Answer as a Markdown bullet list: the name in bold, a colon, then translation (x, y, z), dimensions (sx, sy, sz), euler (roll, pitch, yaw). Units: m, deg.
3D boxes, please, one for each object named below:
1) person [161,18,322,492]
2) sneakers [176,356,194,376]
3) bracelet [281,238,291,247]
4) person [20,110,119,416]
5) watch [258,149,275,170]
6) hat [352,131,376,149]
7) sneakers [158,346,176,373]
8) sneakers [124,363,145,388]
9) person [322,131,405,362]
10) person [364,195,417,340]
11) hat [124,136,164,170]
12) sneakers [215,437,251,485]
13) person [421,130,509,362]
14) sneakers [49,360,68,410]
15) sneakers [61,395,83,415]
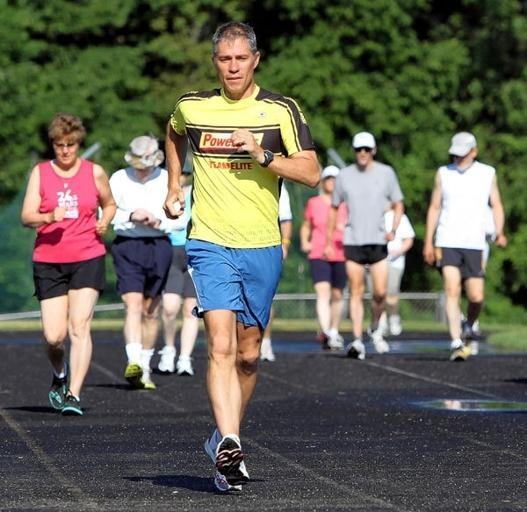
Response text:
- **person**: translation (-0.214, -0.182, 5.892), dimensions (0.749, 1.833, 0.746), euler (8, 12, 36)
- **sneakers**: translation (-0.692, 0.965, 10.881), dimensions (0.167, 0.211, 0.499), euler (0, -3, -7)
- **bracelet**: translation (0.216, -0.132, 11.531), dimensions (0.060, 0.061, 0.045), euler (6, -4, 7)
- **person**: translation (-1.293, 0.049, 8.321), dimensions (0.460, 1.958, 0.682), euler (4, 10, 19)
- **watch**: translation (0.019, -0.445, 5.631), dimensions (0.053, 0.073, 0.083), euler (36, 43, -6)
- **hat**: translation (0.981, -1.114, 11.955), dimensions (0.216, 0.171, 0.248), euler (1, 11, 3)
- **sneakers**: translation (-0.854, 0.898, 11.103), dimensions (0.132, 0.127, 0.283), euler (1, 11, -6)
- **sneakers**: translation (-0.996, 0.925, 9.615), dimensions (0.134, 0.225, 0.069), euler (18, 41, 33)
- **person**: translation (1.004, -0.063, 12.043), dimensions (0.678, 2.268, 0.480), euler (3, 10, 14)
- **person**: translation (1.277, 0.060, 12.697), dimensions (0.662, 1.505, 0.671), euler (4, -2, 2)
- **hat**: translation (-0.948, -0.832, 9.860), dimensions (0.303, 0.266, 0.343), euler (0, 11, -6)
- **sneakers**: translation (-0.137, 0.902, 5.397), dimensions (0.145, 0.269, 0.200), euler (0, 10, -2)
- **person**: translation (1.840, -0.071, 11.297), dimensions (0.723, 2.046, 0.545), euler (2, 10, 8)
- **sneakers**: translation (-1.406, 0.860, 8.464), dimensions (0.127, 0.390, 0.161), euler (1, -4, -3)
- **sneakers**: translation (-1.268, 0.982, 8.193), dimensions (0.139, 0.151, 0.116), euler (-1, 10, -10)
